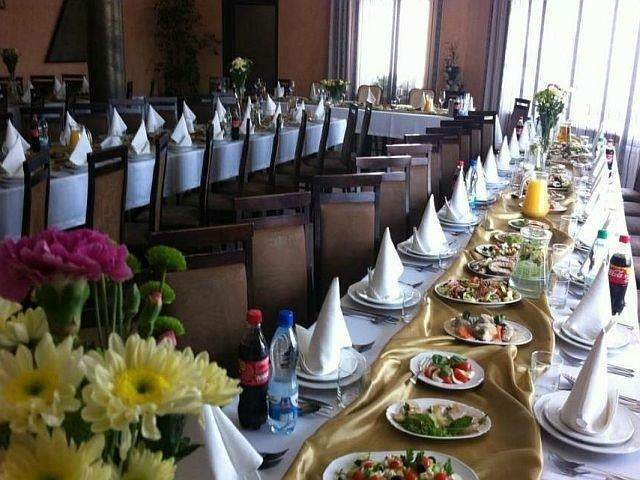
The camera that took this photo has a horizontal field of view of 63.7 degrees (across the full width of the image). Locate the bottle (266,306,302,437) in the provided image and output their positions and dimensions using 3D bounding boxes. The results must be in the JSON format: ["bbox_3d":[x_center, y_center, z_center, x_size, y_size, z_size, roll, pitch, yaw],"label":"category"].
[{"bbox_3d":[-0.087,0.321,1.235,0.067,0.298,0.076,-2,14,-15],"label":"bottle"}]

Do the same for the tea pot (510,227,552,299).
[{"bbox_3d":[0.784,0.076,1.900,0.140,0.267,0.156,1,31,16],"label":"tea pot"}]

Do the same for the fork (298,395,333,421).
[{"bbox_3d":[-0.018,0.432,1.315,0.104,0.020,0.037,9,42,21],"label":"fork"}]

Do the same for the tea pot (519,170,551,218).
[{"bbox_3d":[1.166,-0.253,2.861,0.150,0.321,0.277,0,12,6],"label":"tea pot"}]

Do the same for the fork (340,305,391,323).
[{"bbox_3d":[0.156,0.258,1.791,0.177,0.035,0.062,7,30,19],"label":"fork"}]

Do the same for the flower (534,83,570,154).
[{"bbox_3d":[1.722,-0.906,3.897,0.186,0.508,0.200,11,-6,-10],"label":"flower"}]

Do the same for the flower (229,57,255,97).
[{"bbox_3d":[-0.982,-1.999,6.274,0.261,0.457,0.256,-20,38,-36],"label":"flower"}]

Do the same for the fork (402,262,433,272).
[{"bbox_3d":[0.410,0.117,2.185,0.100,0.019,0.018,9,28,40],"label":"fork"}]
